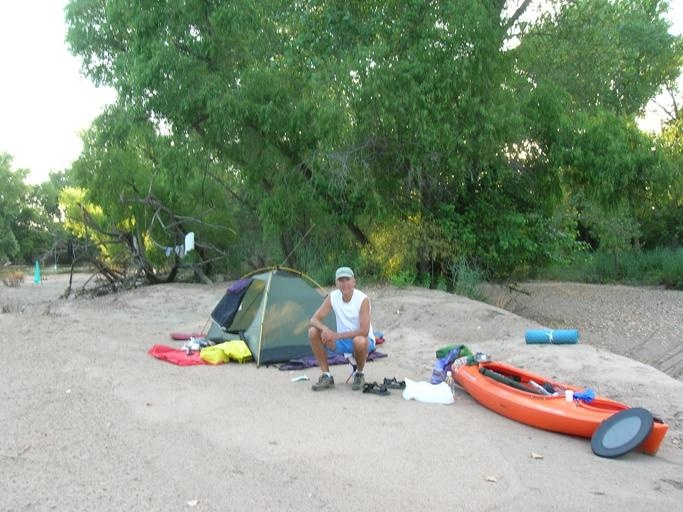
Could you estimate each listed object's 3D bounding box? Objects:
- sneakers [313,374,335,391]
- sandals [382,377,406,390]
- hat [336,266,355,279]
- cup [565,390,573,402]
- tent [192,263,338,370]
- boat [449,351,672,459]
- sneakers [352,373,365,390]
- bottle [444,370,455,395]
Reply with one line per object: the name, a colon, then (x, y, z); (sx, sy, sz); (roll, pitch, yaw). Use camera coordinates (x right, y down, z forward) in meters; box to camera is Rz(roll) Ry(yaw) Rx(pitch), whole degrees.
sneakers: (-0.318, 2.265, 11.701); (0.521, 0.296, 0.209); (-2, -1, -31)
sandals: (0.961, 2.306, 11.727); (0.270, 0.131, 0.222); (5, -3, 0)
hat: (0.057, 0.309, 11.913); (0.297, 0.220, 0.222); (-3, -1, -17)
cup: (3.756, 2.281, 10.633); (0.118, 0.153, 0.229); (-2, -22, 13)
tent: (-1.336, 1.388, 13.719); (1.987, 1.556, 1.983); (0, 8, -33)
boat: (3.463, 2.459, 10.700); (1.283, 0.761, 2.853); (-5, 10, -39)
sneakers: (0.300, 2.246, 11.736); (0.241, 0.315, 0.254); (-3, -1, -3)
bottle: (1.958, 2.244, 11.652); (0.116, 0.505, 0.145); (-6, -19, -16)
